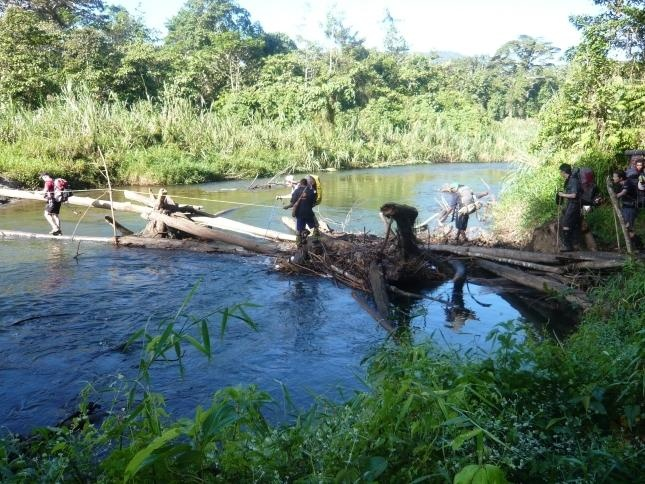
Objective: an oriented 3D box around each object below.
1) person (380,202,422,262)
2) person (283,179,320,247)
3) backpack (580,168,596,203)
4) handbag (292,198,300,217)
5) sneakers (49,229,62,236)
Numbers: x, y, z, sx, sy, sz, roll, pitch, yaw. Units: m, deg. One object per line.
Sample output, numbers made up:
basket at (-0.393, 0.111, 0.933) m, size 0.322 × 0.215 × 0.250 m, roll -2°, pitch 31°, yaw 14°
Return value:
person at (1.768, -0.246, 11.345) m, size 0.533 × 1.319 × 1.367 m, roll 7°, pitch 10°, yaw 26°
person at (-0.525, -0.869, 13.713) m, size 0.921 × 1.871 × 0.995 m, roll 2°, pitch 9°, yaw 3°
backpack at (6.330, -1.347, 11.947) m, size 0.397 × 0.878 × 0.400 m, roll 6°, pitch 10°, yaw 24°
handbag at (-0.741, -0.944, 13.613) m, size 0.122 × 0.483 × 0.276 m, roll -3°, pitch 11°, yaw -27°
sneakers at (-8.552, -0.300, 16.006) m, size 0.478 × 0.158 × 0.157 m, roll 3°, pitch 5°, yaw 8°
